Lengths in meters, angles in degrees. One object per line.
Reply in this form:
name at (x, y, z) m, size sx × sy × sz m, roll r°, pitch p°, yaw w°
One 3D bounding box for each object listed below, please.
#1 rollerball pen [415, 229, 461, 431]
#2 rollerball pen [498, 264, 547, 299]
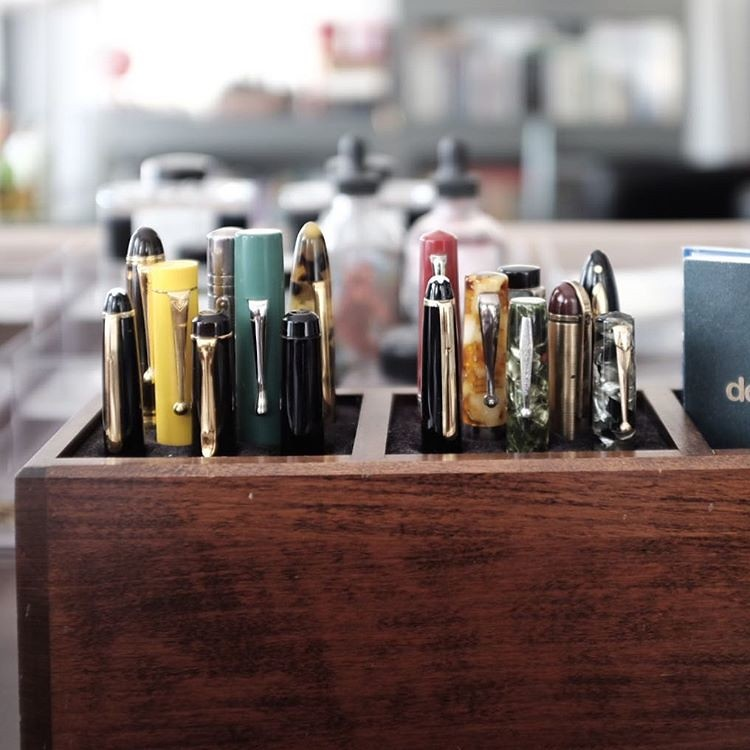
rollerball pen at (0.046, -0.047, 0.769) m, size 0.032 × 0.146 × 0.035 m, roll 4°, pitch 40°, yaw 8°
rollerball pen at (0.104, -0.064, 0.711) m, size 0.021 × 0.024 × 0.023 m, roll -1°, pitch 4°, yaw -6°
